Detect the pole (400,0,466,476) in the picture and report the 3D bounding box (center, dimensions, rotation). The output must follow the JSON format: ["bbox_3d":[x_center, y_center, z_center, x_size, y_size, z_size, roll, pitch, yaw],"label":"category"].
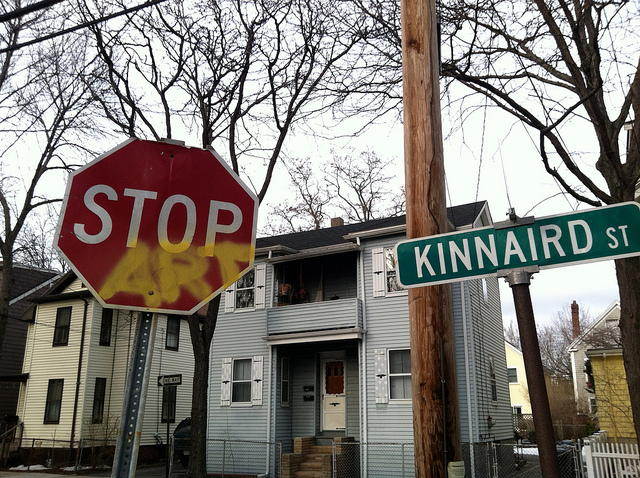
[{"bbox_3d":[0.969,-0.172,5.333,0.535,4.289,0.754,-4,-19,7],"label":"pole"}]

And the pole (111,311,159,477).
[{"bbox_3d":[-1.159,0.967,3.735,0.204,0.984,0.334,5,-20,-19],"label":"pole"}]
